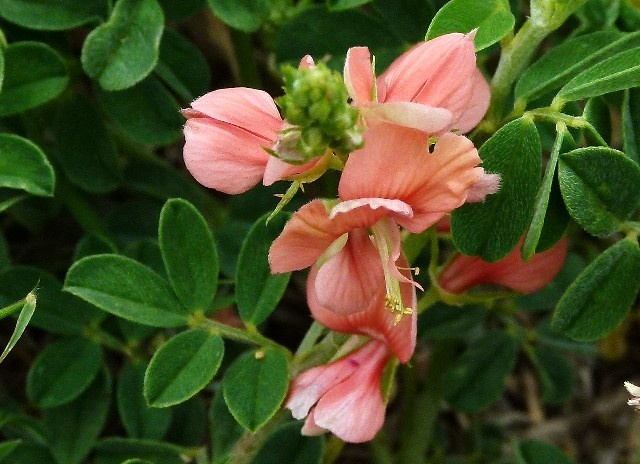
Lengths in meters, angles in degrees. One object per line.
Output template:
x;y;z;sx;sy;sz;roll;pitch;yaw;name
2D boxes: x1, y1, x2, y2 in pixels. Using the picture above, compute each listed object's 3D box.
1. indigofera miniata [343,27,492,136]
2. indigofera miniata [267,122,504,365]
0.158;-0.223;1.072;0.185;0.154;0.230;16;22;25;indigofera miniata
0.096;-0.010;0.886;0.314;0.343;0.232;-3;-1;4;indigofera miniata
